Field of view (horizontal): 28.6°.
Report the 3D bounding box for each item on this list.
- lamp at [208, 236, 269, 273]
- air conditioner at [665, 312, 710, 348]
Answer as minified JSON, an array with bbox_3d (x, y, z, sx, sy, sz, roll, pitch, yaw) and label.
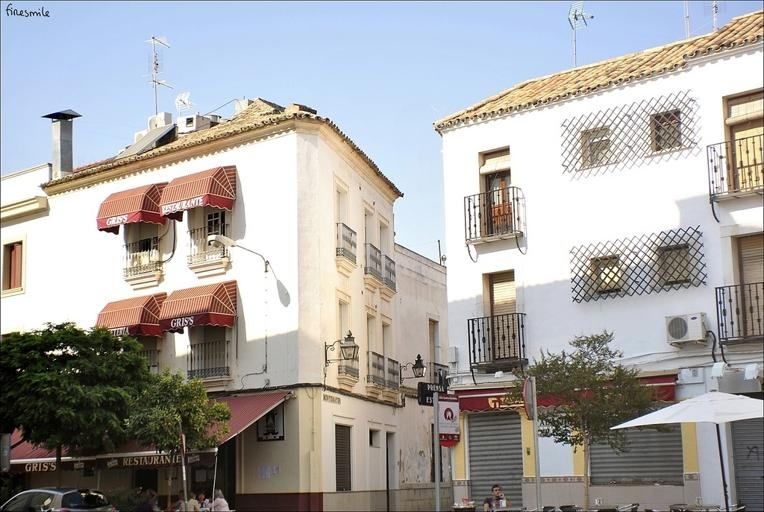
[{"bbox_3d":[-5.365,-0.013,56.980,0.589,1.088,2.777,13,-6,44],"label":"lamp"},{"bbox_3d":[10.279,2.510,50.071,1.332,1.050,0.783,-7,-6,40],"label":"air conditioner"}]
